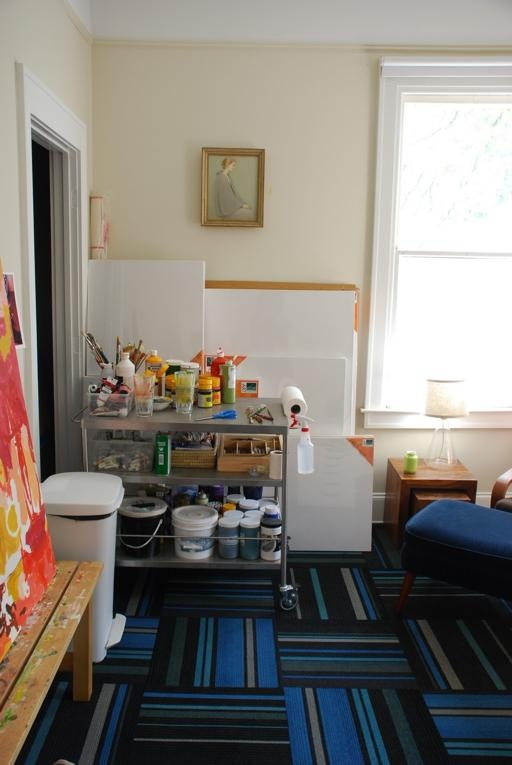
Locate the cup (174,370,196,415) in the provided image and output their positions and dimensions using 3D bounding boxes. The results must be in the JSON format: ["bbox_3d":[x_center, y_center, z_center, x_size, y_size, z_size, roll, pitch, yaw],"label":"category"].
[{"bbox_3d":[-0.297,0.036,2.286,0.074,0.166,0.125,0,6,-11],"label":"cup"}]

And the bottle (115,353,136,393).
[{"bbox_3d":[-0.552,-0.047,2.322,0.082,0.157,0.222,0,6,-14],"label":"bottle"}]

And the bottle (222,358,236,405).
[{"bbox_3d":[-0.122,-0.004,2.444,0.051,0.186,0.047,1,5,0],"label":"bottle"}]

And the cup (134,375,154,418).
[{"bbox_3d":[-0.462,0.037,2.270,0.072,0.173,0.163,0,6,-14],"label":"cup"}]

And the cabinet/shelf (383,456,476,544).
[{"bbox_3d":[0.920,0.655,2.932,0.404,0.422,0.457,3,11,6],"label":"cabinet/shelf"}]

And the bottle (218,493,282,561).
[{"bbox_3d":[-0.029,0.633,2.373,0.228,0.126,0.332,0,1,-1],"label":"bottle"}]

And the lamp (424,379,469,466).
[{"bbox_3d":[1.001,0.203,2.921,0.202,0.474,0.330,3,6,19],"label":"lamp"}]

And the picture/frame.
[{"bbox_3d":[-0.118,-1.038,2.859,0.359,0.450,0.022,0,5,-3],"label":"picture/frame"}]

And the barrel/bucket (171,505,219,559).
[{"bbox_3d":[-0.262,0.646,2.377,0.174,0.188,0.184,1,7,0],"label":"barrel/bucket"}]

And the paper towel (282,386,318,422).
[{"bbox_3d":[0.157,0.083,2.414,0.133,0.152,0.248,6,7,-6],"label":"paper towel"}]
